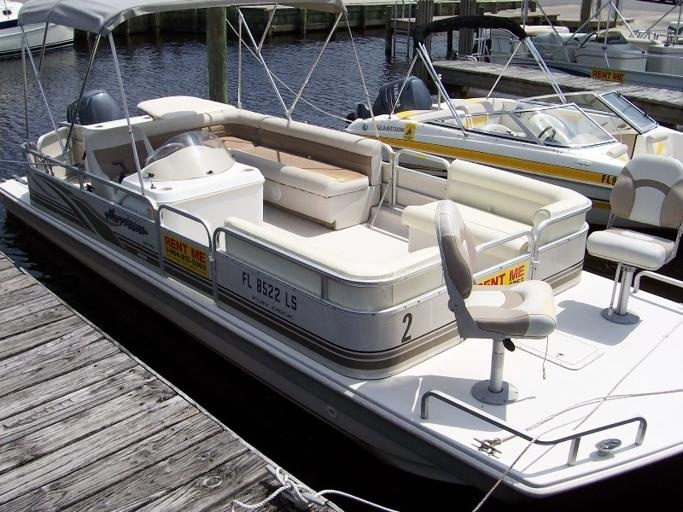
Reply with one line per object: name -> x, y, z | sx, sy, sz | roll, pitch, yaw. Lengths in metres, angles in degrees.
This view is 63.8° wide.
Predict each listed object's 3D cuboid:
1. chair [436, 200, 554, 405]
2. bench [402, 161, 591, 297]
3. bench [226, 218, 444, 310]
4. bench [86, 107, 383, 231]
chair -> 0.890, 0.280, 3.063 | 0.847, 1.035, 0.676 | 4, 14, 8
bench -> 1.187, -0.274, 4.464 | 0.825, 0.600, 1.366 | -26, 35, -34
bench -> -0.115, 0.019, 3.462 | 0.963, 0.158, 0.956 | 19, 23, 41
bench -> -1.011, -0.779, 5.104 | 1.717, 0.447, 0.821 | 25, 36, 30
